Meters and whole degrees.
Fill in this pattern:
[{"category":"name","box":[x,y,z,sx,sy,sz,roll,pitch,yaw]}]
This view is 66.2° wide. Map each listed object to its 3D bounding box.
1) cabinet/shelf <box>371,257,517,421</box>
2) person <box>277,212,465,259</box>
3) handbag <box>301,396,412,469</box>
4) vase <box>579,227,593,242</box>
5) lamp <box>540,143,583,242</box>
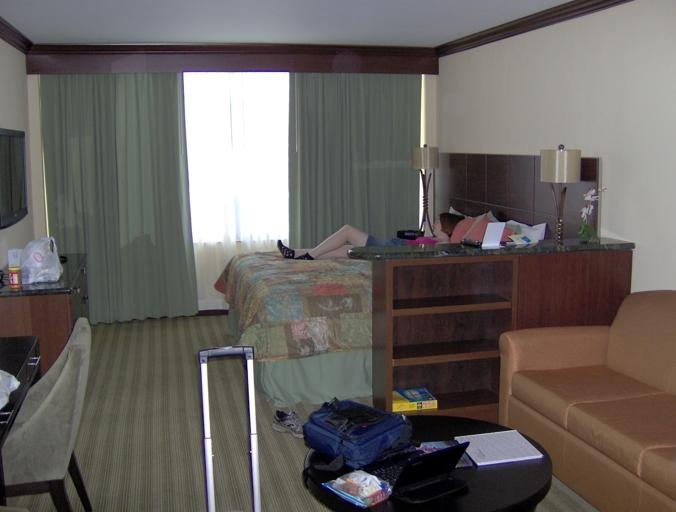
[{"category":"cabinet/shelf","box":[0.775,0.586,3.848,1.086,1.416,0.392,-1,3,-14]},{"category":"person","box":[0.289,-0.189,6.265,1.631,0.481,0.945,-8,7,2]},{"category":"handbag","box":[0.059,0.921,2.732,0.504,0.183,0.553,-2,6,-29]},{"category":"vase","box":[1.984,-0.170,4.145,0.109,0.119,0.083,0,2,-12]},{"category":"lamp","box":[1.856,-0.495,4.320,0.276,0.784,0.289,2,3,0]}]
